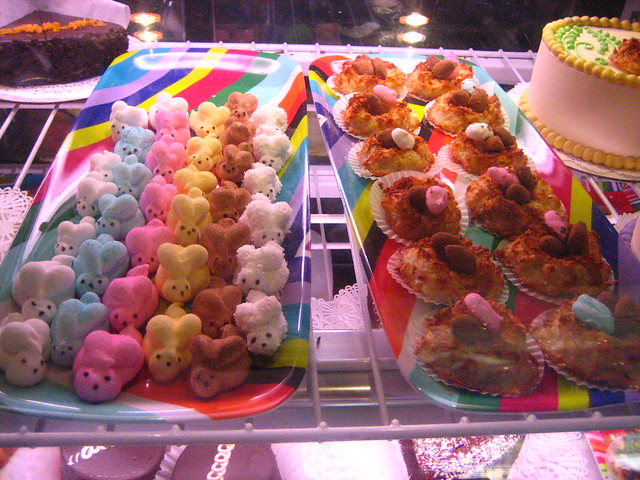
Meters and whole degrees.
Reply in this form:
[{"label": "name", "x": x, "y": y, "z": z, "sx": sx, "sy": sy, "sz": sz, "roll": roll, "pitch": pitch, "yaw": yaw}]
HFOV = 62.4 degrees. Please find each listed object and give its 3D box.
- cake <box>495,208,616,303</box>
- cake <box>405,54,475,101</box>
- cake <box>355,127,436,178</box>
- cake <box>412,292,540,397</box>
[{"label": "cake", "x": 0.701, "y": 0.072, "z": 1.568, "sx": 0.260, "sy": 0.082, "sz": 0.248, "roll": -3, "pitch": 44, "yaw": 9}, {"label": "cake", "x": 0.481, "y": -0.684, "z": 2.230, "sx": 0.227, "sy": 0.084, "sz": 0.221, "roll": -28, "pitch": 29, "yaw": -2}, {"label": "cake", "x": 0.269, "y": -0.317, "z": 1.896, "sx": 0.213, "sy": 0.098, "sz": 0.206, "roll": -17, "pitch": 38, "yaw": -20}, {"label": "cake", "x": 0.414, "y": 0.281, "z": 1.357, "sx": 0.285, "sy": 0.110, "sz": 0.267, "roll": 8, "pitch": 43, "yaw": 1}]
